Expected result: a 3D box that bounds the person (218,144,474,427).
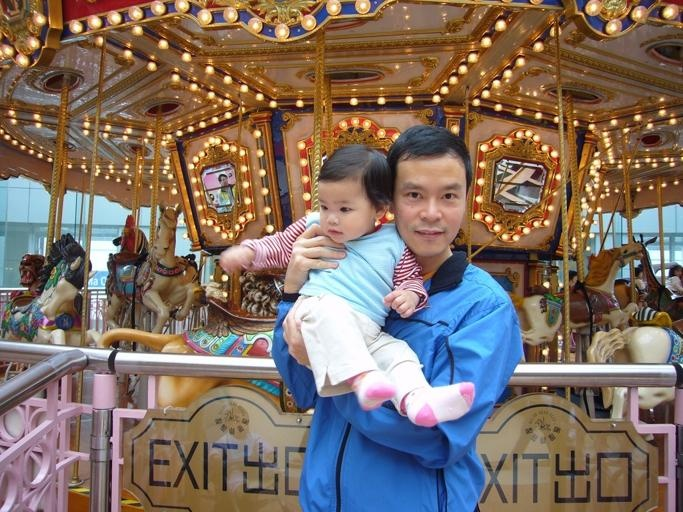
[{"bbox_3d":[0.057,0.077,2.595,0.739,1.103,1.145,9,-8,-26],"label":"person"}]
